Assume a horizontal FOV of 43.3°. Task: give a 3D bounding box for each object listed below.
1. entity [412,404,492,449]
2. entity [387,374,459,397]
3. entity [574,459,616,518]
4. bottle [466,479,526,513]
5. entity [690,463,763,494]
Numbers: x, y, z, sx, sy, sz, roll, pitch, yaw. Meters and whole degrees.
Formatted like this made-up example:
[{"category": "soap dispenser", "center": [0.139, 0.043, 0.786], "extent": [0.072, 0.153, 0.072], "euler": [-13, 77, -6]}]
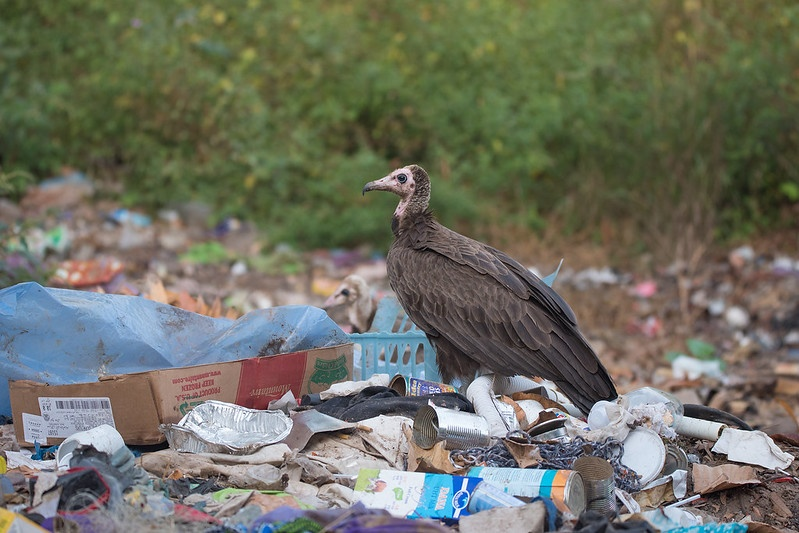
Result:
[{"category": "entity", "center": [0.399, 1.311, 8.124], "extent": [0.574, 0.379, 0.491], "euler": [2, 49, -14]}, {"category": "entity", "center": [0.190, 1.076, 8.681], "extent": [0.587, 0.186, 0.323], "euler": [-1, 38, 1]}, {"category": "entity", "center": [1.554, 1.720, 7.696], "extent": [0.318, 0.311, 0.335], "euler": [-11, 77, 21]}, {"category": "bottle", "center": [0.676, 1.727, 7.455], "extent": [0.428, 0.259, 0.253], "euler": [3, 16, -4]}, {"category": "entity", "center": [2.582, 1.686, 8.008], "extent": [0.540, 0.126, 0.228], "euler": [-4, 38, -4]}]
